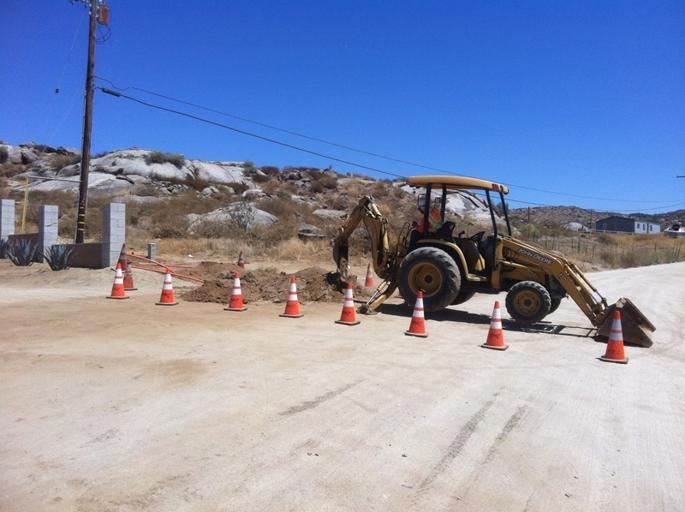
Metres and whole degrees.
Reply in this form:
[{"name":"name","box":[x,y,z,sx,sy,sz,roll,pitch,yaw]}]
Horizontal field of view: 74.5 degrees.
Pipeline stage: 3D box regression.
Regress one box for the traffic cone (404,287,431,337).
[{"name":"traffic cone","box":[1.550,1.147,9.027,0.768,0.823,0.736,-1,-3,30]}]

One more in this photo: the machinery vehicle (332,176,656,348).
[{"name":"machinery vehicle","box":[3.538,-0.040,11.260,7.789,3.523,2.856,3,5,20]}]

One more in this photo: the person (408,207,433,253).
[{"name":"person","box":[2.057,-0.632,11.830,0.701,1.062,0.524,14,4,19]}]
